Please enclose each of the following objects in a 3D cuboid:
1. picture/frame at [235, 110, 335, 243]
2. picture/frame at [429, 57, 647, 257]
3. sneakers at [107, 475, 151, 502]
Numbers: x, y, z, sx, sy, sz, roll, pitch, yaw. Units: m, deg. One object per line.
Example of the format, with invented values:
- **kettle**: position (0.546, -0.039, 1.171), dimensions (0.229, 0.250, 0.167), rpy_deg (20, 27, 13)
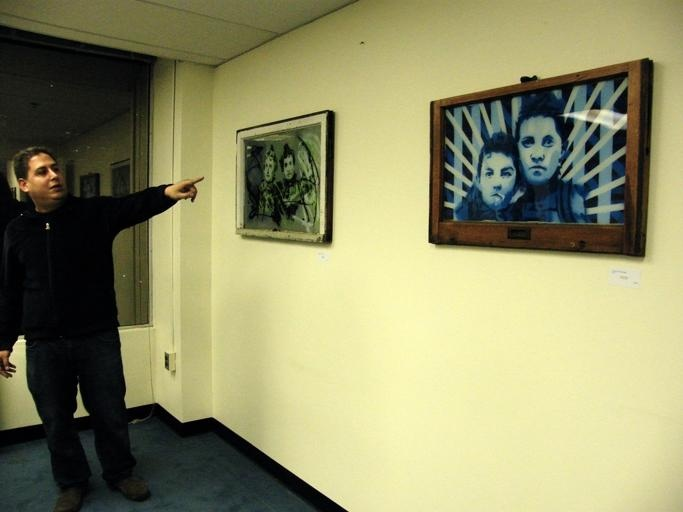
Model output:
- **picture/frame**: position (-0.311, -0.456, 3.073), dimensions (0.037, 0.588, 0.821), rpy_deg (-3, 5, -40)
- **picture/frame**: position (0.767, -0.372, 2.013), dimensions (0.813, 0.658, 0.070), rpy_deg (3, 4, 44)
- **sneakers**: position (-1.243, 1.313, 3.100), dimensions (0.272, 0.108, 0.111), rpy_deg (-2, 0, 37)
